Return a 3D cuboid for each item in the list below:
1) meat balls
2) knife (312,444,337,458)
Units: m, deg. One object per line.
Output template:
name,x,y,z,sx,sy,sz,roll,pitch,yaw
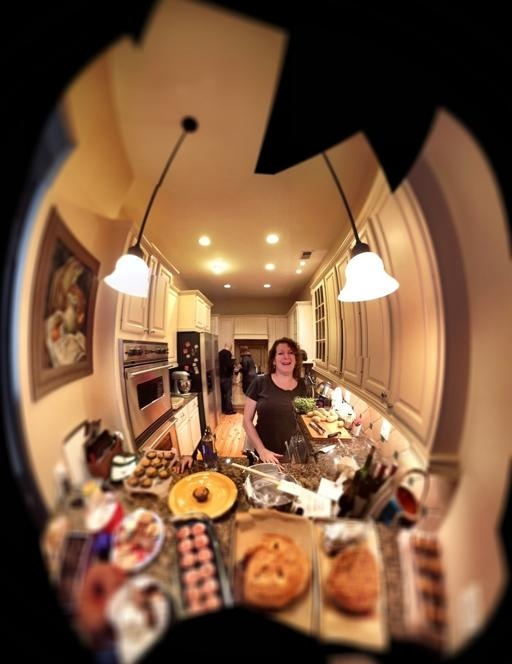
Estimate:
meat balls,-0.071,0.275,0.419,0.042,0.104,0.021,-3,-21,-7
knife,0.089,0.158,0.482,0.038,0.014,0.011,-10,-25,26
